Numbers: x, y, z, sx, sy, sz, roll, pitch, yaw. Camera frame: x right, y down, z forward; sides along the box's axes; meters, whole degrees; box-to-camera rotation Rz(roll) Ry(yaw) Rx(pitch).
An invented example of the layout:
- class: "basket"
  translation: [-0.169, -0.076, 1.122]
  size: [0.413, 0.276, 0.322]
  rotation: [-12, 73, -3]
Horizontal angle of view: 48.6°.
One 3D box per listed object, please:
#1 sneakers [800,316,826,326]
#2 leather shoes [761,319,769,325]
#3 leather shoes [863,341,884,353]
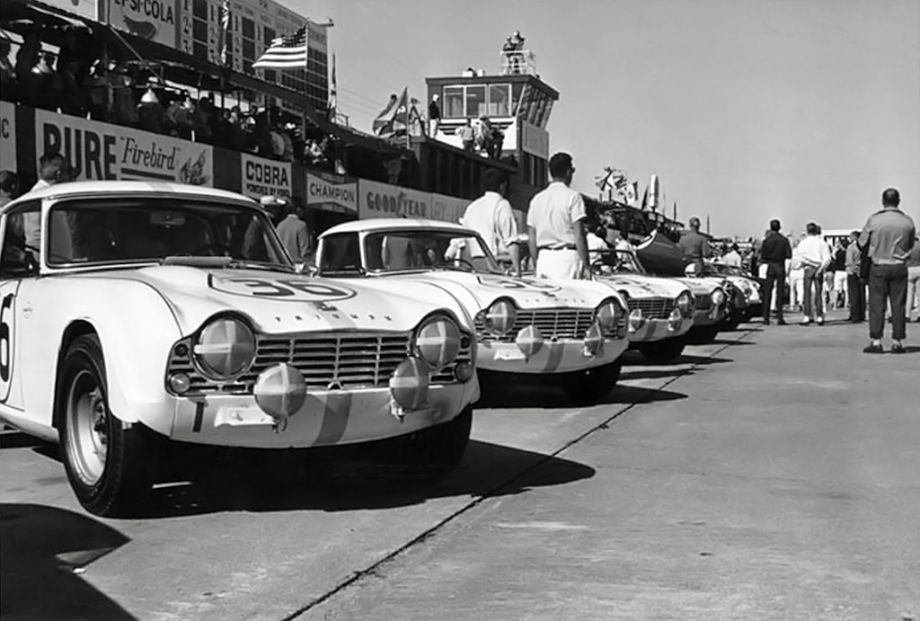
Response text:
- class: "sneakers"
  translation: [7.074, 0.199, 20.373]
  size: [0.391, 0.201, 0.143]
  rotation: [-2, 5, -2]
- class: "leather shoes"
  translation: [6.082, 0.220, 20.188]
  size: [0.111, 0.126, 0.116]
  rotation: [0, 12, -2]
- class: "leather shoes"
  translation: [5.489, 0.478, 13.614]
  size: [0.325, 0.160, 0.132]
  rotation: [1, 1, 44]
